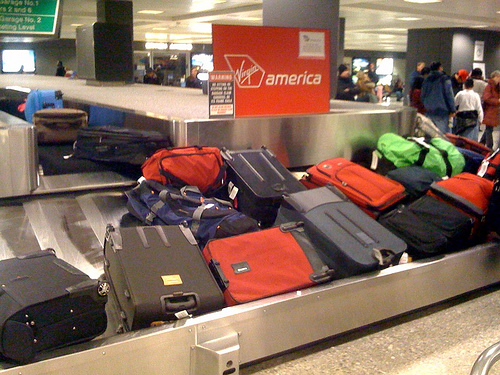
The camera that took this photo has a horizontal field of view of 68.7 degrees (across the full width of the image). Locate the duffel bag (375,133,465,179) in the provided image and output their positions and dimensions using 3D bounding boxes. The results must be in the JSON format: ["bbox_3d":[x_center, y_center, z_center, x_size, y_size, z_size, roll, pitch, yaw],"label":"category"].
[{"bbox_3d":[1.548,-0.341,3.276,0.825,0.384,0.469,13,22,40],"label":"duffel bag"}]

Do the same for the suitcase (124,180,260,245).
[{"bbox_3d":[-0.376,0.125,2.262,0.639,0.215,0.412,22,20,22],"label":"suitcase"}]

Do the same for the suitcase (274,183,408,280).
[{"bbox_3d":[0.497,0.217,2.218,0.445,0.267,0.704,-12,43,-33],"label":"suitcase"}]

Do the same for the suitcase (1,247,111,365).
[{"bbox_3d":[-0.741,0.410,1.400,0.332,0.209,0.377,-7,26,-37],"label":"suitcase"}]

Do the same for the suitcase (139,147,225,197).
[{"bbox_3d":[-0.424,-0.137,2.525,0.430,0.286,0.414,0,2,-33],"label":"suitcase"}]

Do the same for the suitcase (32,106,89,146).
[{"bbox_3d":[-2.264,-0.665,4.089,0.563,0.391,0.713,11,14,23],"label":"suitcase"}]

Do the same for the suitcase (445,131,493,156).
[{"bbox_3d":[2.253,-0.446,3.782,0.352,0.101,0.270,22,12,15],"label":"suitcase"}]

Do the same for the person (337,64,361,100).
[{"bbox_3d":[2.003,-2.177,7.615,0.520,0.677,0.420,-5,13,-23],"label":"person"}]

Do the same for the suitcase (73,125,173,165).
[{"bbox_3d":[-1.074,-0.370,3.009,0.600,0.166,0.432,10,22,21],"label":"suitcase"}]

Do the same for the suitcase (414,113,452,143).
[{"bbox_3d":[1.937,-0.644,3.924,0.378,0.330,0.307,14,24,31],"label":"suitcase"}]

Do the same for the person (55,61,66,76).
[{"bbox_3d":[-7.824,-4.865,15.072,0.312,0.632,1.297,-6,13,-26],"label":"person"}]

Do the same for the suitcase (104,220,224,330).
[{"bbox_3d":[-0.414,0.385,1.747,0.403,0.352,0.512,-6,14,-30],"label":"suitcase"}]

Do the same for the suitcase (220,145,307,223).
[{"bbox_3d":[0.037,-0.093,2.625,0.471,0.243,0.619,-7,45,-31],"label":"suitcase"}]

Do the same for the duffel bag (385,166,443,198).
[{"bbox_3d":[1.296,-0.075,2.878,0.296,0.085,0.287,-19,39,-34],"label":"duffel bag"}]

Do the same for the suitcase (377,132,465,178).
[{"bbox_3d":[1.547,-0.321,3.269,0.801,0.366,0.444,12,21,39],"label":"suitcase"}]

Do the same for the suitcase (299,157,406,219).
[{"bbox_3d":[0.771,-0.049,2.740,0.581,0.186,0.452,33,36,33],"label":"suitcase"}]
